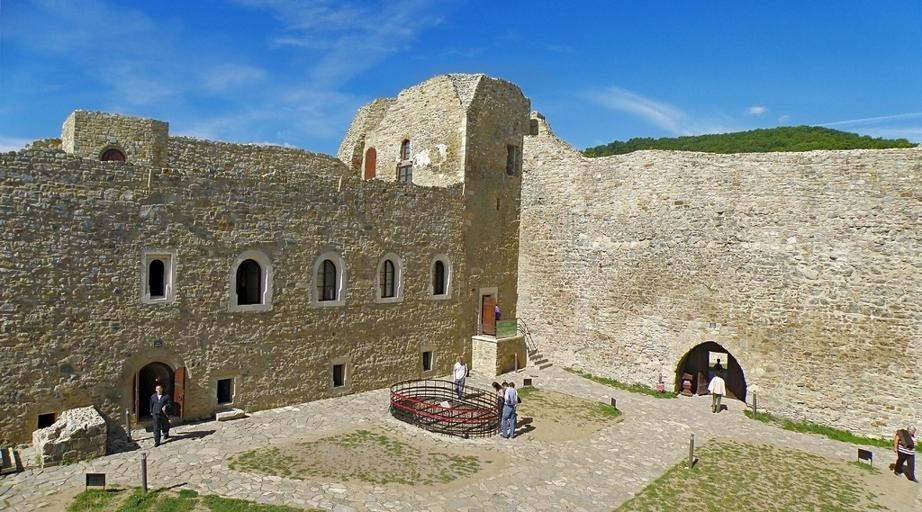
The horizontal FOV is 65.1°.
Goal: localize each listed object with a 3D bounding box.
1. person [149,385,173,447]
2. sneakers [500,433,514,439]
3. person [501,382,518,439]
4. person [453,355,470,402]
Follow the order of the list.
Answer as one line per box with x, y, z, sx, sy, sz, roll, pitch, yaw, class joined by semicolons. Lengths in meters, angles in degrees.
-13.018;6.883;31.328;0.680;1.824;0.817;-2;2;-19;person
2.136;8.293;33.126;0.568;0.213;0.210;-6;-7;44;sneakers
2.340;7.123;33.428;0.707;2.444;1.023;-1;2;29;person
-0.002;6.198;36.373;0.609;1.874;1.285;-2;1;-3;person
